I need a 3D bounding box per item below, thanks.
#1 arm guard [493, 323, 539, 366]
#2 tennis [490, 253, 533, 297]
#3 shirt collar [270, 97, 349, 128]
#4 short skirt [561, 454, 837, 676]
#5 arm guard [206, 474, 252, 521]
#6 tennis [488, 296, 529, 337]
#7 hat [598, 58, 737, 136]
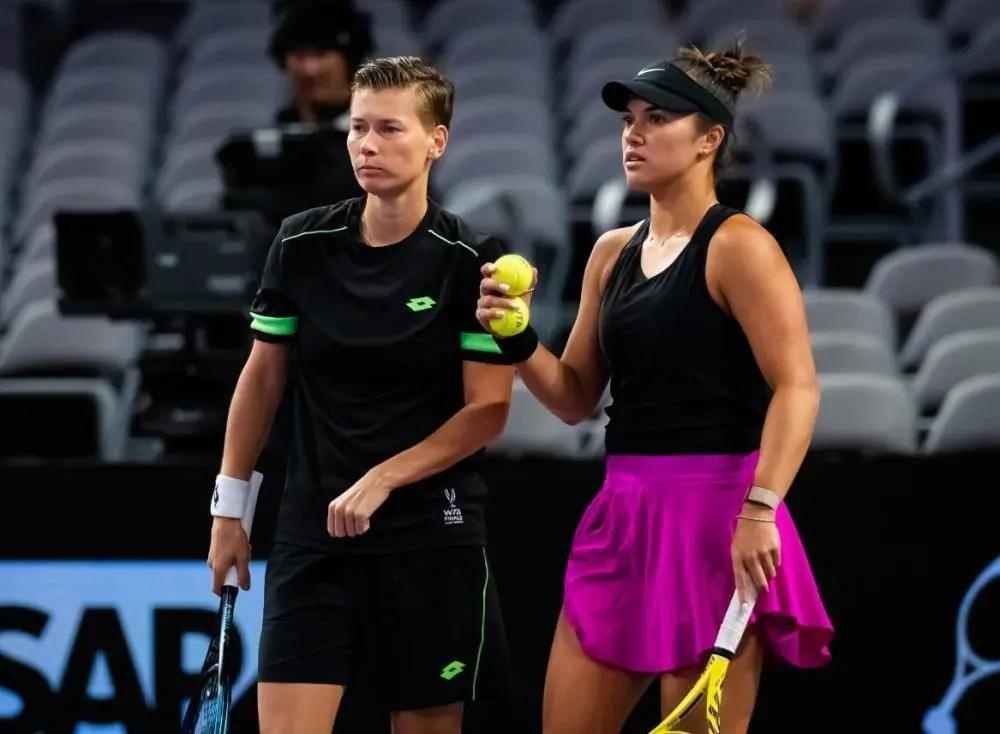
[{"bbox_3d":[0.047,-0.062,3.915,0.112,0.109,0.116,-27,-27,-23],"label":"arm guard"},{"bbox_3d":[0.038,-0.265,3.803,0.135,0.113,0.110,0,2,-10],"label":"tennis"},{"bbox_3d":[-0.863,-1.167,5.961,0.256,0.070,0.274,0,0,-25],"label":"shirt collar"},{"bbox_3d":[0.597,0.516,3.989,0.869,0.700,0.566,-8,4,14],"label":"short skirt"},{"bbox_3d":[-0.806,0.391,3.927,0.125,0.144,0.106,14,0,-10],"label":"arm guard"},{"bbox_3d":[0.025,-0.145,3.815,0.111,0.118,0.113,0,2,-2],"label":"tennis"},{"bbox_3d":[0.477,-0.767,3.865,0.309,0.115,0.200,24,-3,-25],"label":"hat"}]
